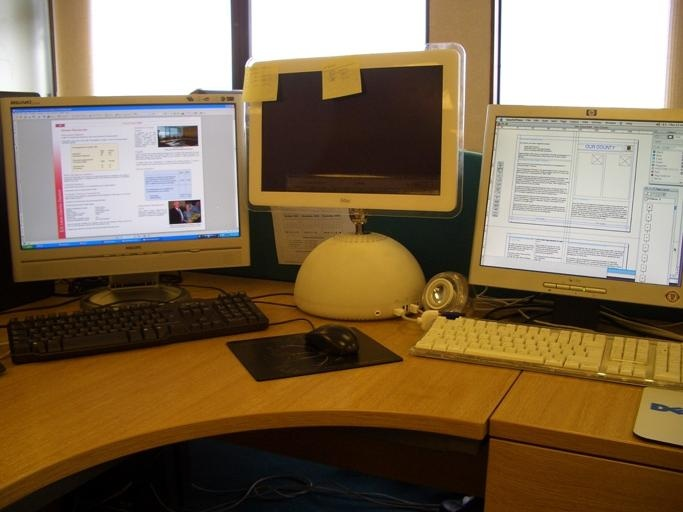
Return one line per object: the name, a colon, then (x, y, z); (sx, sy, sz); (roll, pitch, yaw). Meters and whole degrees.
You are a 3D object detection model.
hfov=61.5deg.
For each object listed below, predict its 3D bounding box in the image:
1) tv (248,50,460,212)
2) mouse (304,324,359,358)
tv: (0.048, -0.310, 1.400); (0.493, 0.309, 0.064); (1, 6, 17)
mouse: (-0.012, 0.173, 1.205); (0.057, 0.029, 0.100); (-8, 14, -40)
